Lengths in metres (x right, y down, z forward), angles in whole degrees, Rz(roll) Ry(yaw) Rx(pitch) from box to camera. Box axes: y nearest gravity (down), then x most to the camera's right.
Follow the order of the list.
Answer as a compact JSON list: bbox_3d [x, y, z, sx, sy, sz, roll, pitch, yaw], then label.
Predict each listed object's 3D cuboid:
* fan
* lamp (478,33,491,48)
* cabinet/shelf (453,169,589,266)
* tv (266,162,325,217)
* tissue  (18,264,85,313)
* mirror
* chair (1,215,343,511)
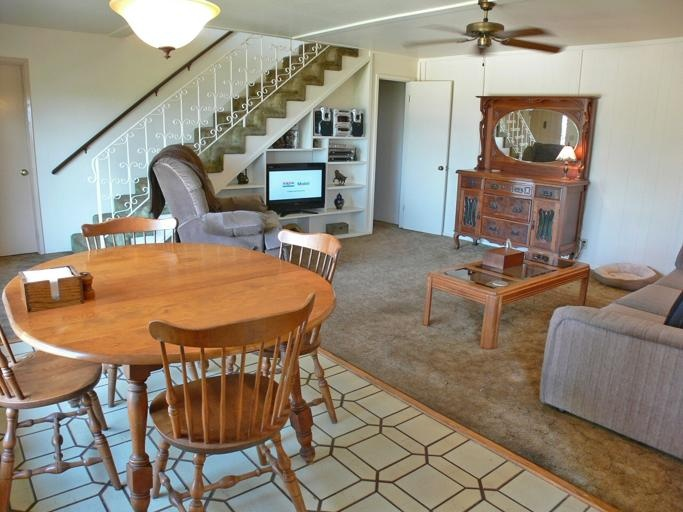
[{"bbox_3d":[1.403,-2.286,4.942,0.942,0.270,0.816,-1,18,-7],"label":"fan"},{"bbox_3d":[1.230,-1.830,4.241,0.101,0.076,0.095,6,12,23],"label":"lamp"},{"bbox_3d":[2.229,-0.479,6.011,0.513,0.838,1.294,-12,18,-43],"label":"cabinet/shelf"},{"bbox_3d":[-0.645,-0.916,6.760,1.079,0.655,0.323,-6,19,-35],"label":"tv"},{"bbox_3d":[-1.382,0.149,2.429,0.281,0.157,0.303,-8,13,-31],"label":"tissue "},{"bbox_3d":[2.533,-1.501,6.286,1.318,0.808,0.199,12,21,40],"label":"mirror"},{"bbox_3d":[-0.979,0.219,2.583,1.391,0.731,1.685,-7,16,-35],"label":"chair"}]
